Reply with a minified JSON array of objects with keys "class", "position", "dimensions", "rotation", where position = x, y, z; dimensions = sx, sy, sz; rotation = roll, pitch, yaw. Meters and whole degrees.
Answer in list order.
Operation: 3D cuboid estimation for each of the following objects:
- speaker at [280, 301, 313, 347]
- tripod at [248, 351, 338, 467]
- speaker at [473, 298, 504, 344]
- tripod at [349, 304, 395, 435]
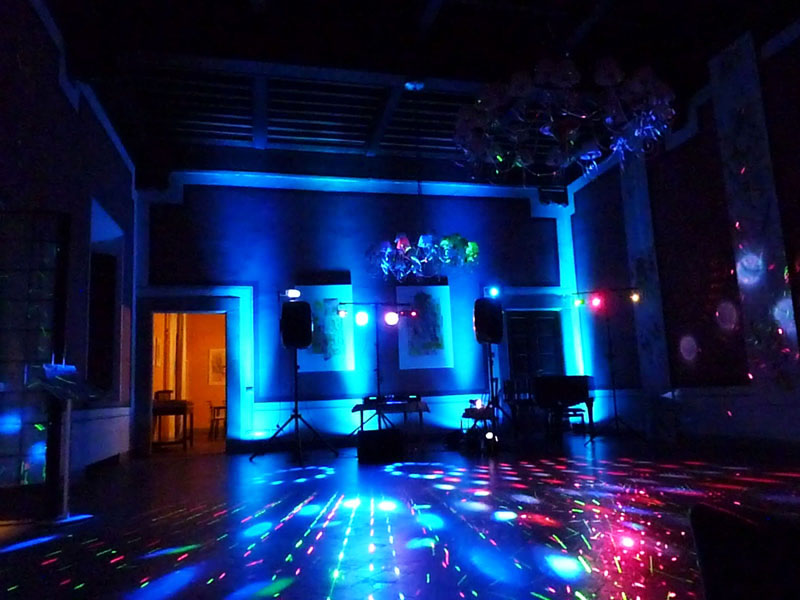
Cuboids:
[{"class":"speaker","position":[-1.299,0.313,7.769],"dimensions":[0.518,0.821,0.399],"rotation":[0,-7,-7]},{"class":"tripod","position":[-1.437,1.410,8.720],"dimensions":[0.751,1.590,2.110],"rotation":[-1,-10,-12]},{"class":"speaker","position":[1.102,0.250,7.690],"dimensions":[0.340,0.558,0.243],"rotation":[-4,-9,5]},{"class":"tripod","position":[-0.415,0.971,9.639],"dimensions":[0.555,2.039,0.879],"rotation":[-3,-9,-1]}]
